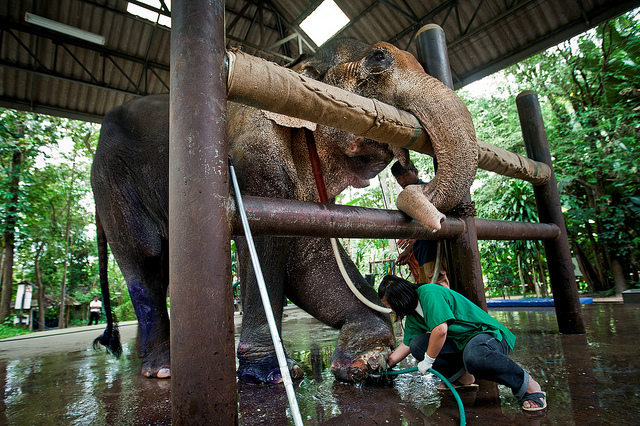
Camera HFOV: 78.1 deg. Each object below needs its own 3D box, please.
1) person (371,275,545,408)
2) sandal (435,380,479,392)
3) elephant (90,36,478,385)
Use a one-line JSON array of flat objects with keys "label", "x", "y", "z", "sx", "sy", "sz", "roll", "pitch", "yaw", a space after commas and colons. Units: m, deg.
[{"label": "person", "x": 0.798, "y": 0.785, "z": 2.407, "sx": 0.818, "sy": 0.545, "sz": 0.553, "roll": 5, "pitch": -28, "yaw": 10}, {"label": "sandal", "x": 0.828, "y": 1.033, "z": 2.370, "sx": 0.261, "sy": 0.079, "sz": 0.095, "roll": 2, "pitch": -13, "yaw": -6}, {"label": "elephant", "x": -0.482, "y": -0.002, "z": 3.254, "sx": 3.331, "sy": 2.616, "sz": 1.516, "roll": -9, "pitch": -8, "yaw": 14}]
